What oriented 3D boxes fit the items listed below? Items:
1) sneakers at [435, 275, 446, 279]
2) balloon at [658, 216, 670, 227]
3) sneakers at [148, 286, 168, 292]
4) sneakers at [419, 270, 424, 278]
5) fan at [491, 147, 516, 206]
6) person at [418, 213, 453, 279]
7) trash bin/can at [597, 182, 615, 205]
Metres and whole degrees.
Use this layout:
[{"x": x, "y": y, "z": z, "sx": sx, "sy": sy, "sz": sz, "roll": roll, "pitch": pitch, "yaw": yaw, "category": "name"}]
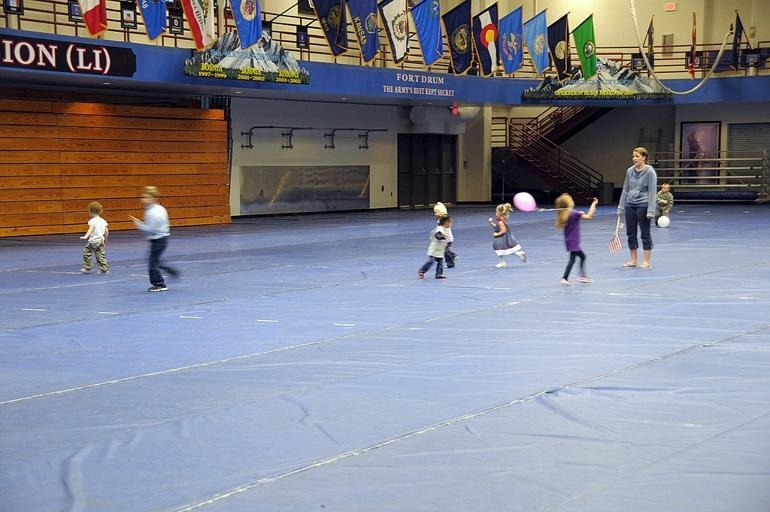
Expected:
[{"x": 1.121, "y": 0.408, "z": 10.921, "sx": 0.211, "sy": 0.063, "sz": 0.079, "roll": -4, "pitch": 8, "yaw": -44, "category": "sneakers"}, {"x": 9.678, "y": -1.175, "z": 19.302, "sx": 0.347, "sy": 0.350, "sz": 0.619, "roll": 1, "pitch": 8, "yaw": 18, "category": "balloon"}, {"x": -4.082, "y": 0.594, "z": 9.994, "sx": 0.340, "sy": 0.086, "sz": 0.103, "roll": 3, "pitch": 0, "yaw": -3, "category": "sneakers"}, {"x": 0.713, "y": 0.377, "z": 10.951, "sx": 0.116, "sy": 0.130, "sz": 0.069, "roll": -2, "pitch": 45, "yaw": 3, "category": "sneakers"}, {"x": 6.632, "y": -4.648, "z": 31.229, "sx": 1.825, "sy": 2.632, "sz": 0.489, "roll": -9, "pitch": 9, "yaw": -29, "category": "fan"}, {"x": 0.981, "y": -0.218, "z": 11.224, "sx": 0.666, "sy": 1.214, "sz": 1.104, "roll": -2, "pitch": 9, "yaw": 4, "category": "person"}, {"x": 12.480, "y": -3.550, "z": 31.495, "sx": 0.786, "sy": 1.271, "sz": 1.271, "roll": 3, "pitch": 10, "yaw": 28, "category": "trash bin/can"}]
